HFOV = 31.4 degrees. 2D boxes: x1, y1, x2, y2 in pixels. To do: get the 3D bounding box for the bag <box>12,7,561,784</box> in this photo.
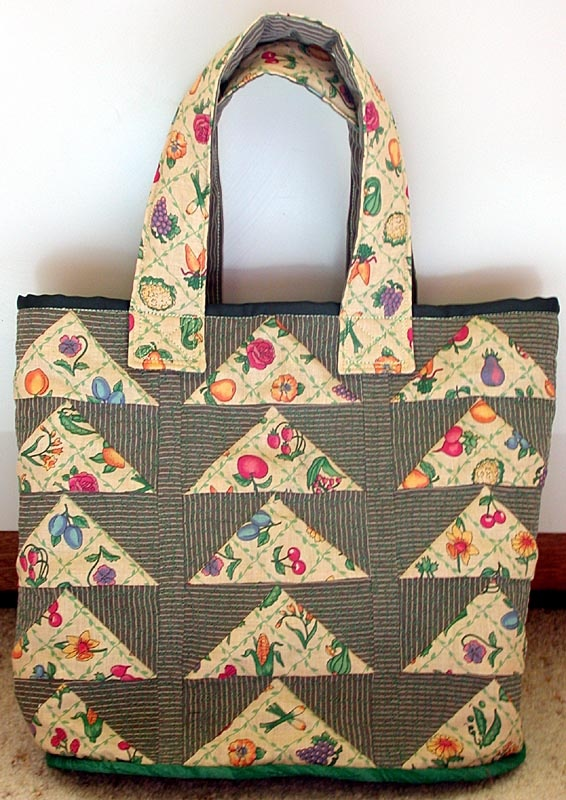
[{"bbox_3d":[0.003,-0.002,0.986,0.525,0.710,0.165,4,5,-3],"label":"bag"}]
